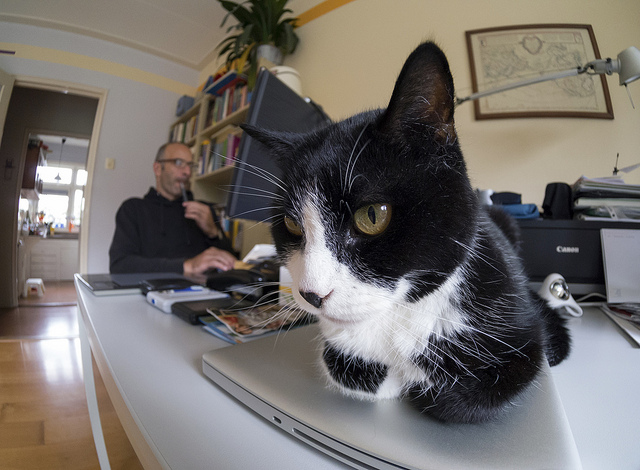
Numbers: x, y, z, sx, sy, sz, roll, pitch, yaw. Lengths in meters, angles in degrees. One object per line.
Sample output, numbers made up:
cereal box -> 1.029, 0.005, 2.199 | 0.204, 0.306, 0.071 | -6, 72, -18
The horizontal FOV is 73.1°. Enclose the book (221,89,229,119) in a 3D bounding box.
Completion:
book -> -0.590, -0.823, 2.705 | 0.032, 0.155, 0.086 | 2, -1, -28

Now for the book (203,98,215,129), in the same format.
book -> -0.742, -0.828, 2.911 | 0.037, 0.156, 0.165 | 6, -19, -14

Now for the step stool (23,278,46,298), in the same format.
step stool -> -2.028, 0.367, 3.087 | 0.137, 0.097, 0.112 | -3, -4, -37

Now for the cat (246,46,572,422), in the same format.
cat -> 0.412, 0.034, 1.542 | 0.828, 0.846, 1.239 | -5, 0, 34

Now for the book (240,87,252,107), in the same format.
book -> -0.438, -0.816, 2.531 | 0.025, 0.103, 0.104 | 13, -1, -26
